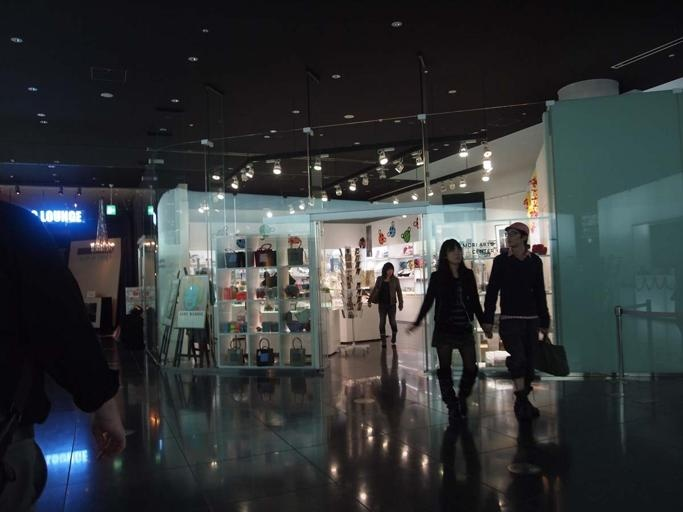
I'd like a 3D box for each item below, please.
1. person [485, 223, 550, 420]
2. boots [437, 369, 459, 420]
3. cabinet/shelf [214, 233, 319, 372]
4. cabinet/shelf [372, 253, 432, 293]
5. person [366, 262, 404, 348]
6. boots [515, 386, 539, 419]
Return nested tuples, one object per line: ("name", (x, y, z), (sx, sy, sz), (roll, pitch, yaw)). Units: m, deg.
("person", (1.836, 0.659, 5.699), (0.646, 2.073, 0.363), (-2, -1, 16))
("boots", (1.152, 1.436, 5.742), (0.215, 0.534, 0.389), (-2, 0, -10))
("cabinet/shelf", (-1.179, 0.753, 8.832), (1.875, 2.692, 0.725), (-1, -8, 4))
("cabinet/shelf", (1.598, 0.481, 13.898), (1.072, 1.009, 0.376), (3, 8, 3))
("person", (0.881, 0.974, 10.828), (0.645, 1.511, 1.319), (-2, 0, 4))
("boots", (1.915, 1.525, 5.613), (0.253, 0.316, 0.271), (-2, 0, 20))
